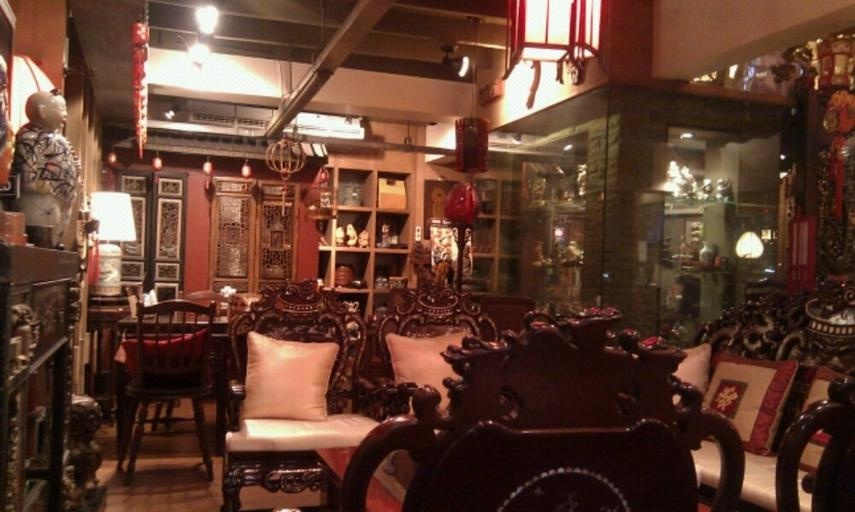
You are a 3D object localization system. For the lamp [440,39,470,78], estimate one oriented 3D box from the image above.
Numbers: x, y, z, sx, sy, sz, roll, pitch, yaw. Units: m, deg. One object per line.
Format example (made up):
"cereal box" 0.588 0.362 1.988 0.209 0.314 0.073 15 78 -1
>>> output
"lamp" 0.303 -2.245 7.433 0.311 0.284 0.202 3 17 -5

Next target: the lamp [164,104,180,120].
"lamp" -3.417 -1.925 8.685 0.112 0.106 0.196 21 14 3

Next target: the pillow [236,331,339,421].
"pillow" -0.988 0.832 4.463 0.580 0.505 0.207 3 -21 -6

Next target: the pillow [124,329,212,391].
"pillow" -2.091 0.808 5.331 0.528 0.650 0.553 0 2 -23
